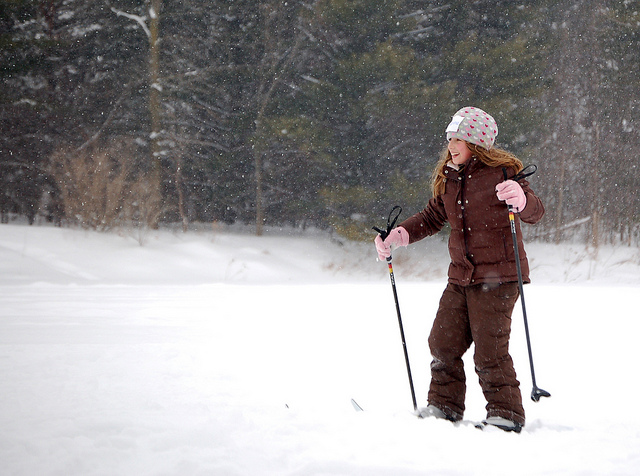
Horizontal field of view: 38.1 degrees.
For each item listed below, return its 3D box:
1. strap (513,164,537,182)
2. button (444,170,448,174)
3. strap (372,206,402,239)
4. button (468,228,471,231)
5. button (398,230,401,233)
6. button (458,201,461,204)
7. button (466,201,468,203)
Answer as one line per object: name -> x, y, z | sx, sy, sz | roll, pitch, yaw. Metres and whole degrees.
strap -> 3.029, -0.962, 13.855 | 0.162, 0.067, 0.497 | 46, -23, -2
button -> 1.900, -1.011, 14.064 | 0.051, 0.055, 0.013 | 0, 0, 28
strap -> 1.278, -0.310, 18.057 | 0.281, 0.831, 0.127 | 33, 33, 4
button -> 2.228, -0.137, 13.939 | 0.038, 0.040, 0.009 | 1, 2, 10
button -> 1.199, -0.101, 14.215 | 0.041, 0.040, 0.010 | -1, -2, -10
button -> 2.086, -0.545, 13.965 | 0.042, 0.045, 0.010 | 1, 1, 6
button -> 2.195, -0.548, 13.954 | 0.035, 0.037, 0.009 | 0, 2, 5
